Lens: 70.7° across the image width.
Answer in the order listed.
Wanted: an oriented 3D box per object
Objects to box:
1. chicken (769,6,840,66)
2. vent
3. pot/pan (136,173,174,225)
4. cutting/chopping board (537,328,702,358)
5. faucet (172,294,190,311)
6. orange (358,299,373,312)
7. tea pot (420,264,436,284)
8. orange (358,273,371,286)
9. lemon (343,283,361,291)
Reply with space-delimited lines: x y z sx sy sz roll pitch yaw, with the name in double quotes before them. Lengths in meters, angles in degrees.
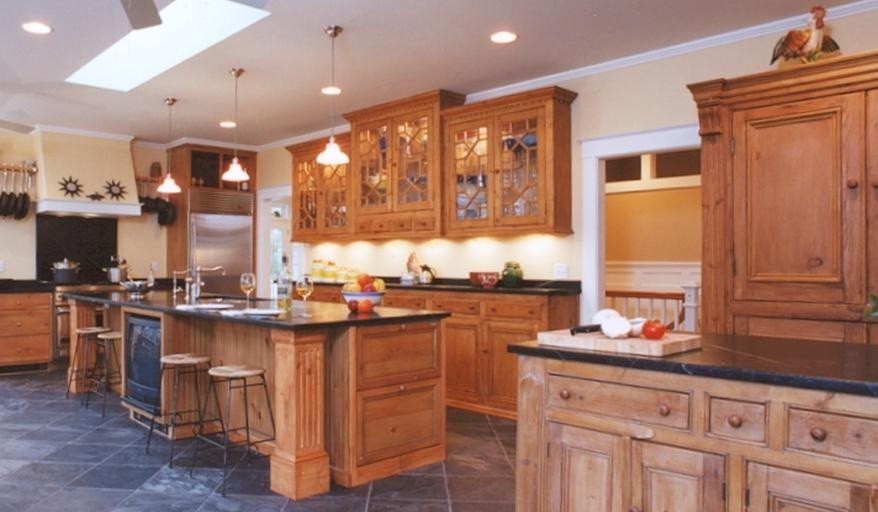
"chicken" 3.172 -1.809 5.472 0.446 0.681 0.576 -2 2 22
"vent" -5.180 -1.235 9.021 1.419 1.137 0.497 3 -11 -35
"pot/pan" -4.349 -0.893 9.496 0.875 0.696 0.401 8 2 20
"cutting/chopping board" 1.185 0.566 4.060 1.061 0.093 0.319 1 9 7
"faucet" -2.634 0.474 6.343 0.134 0.176 0.118 0 2 -8
"orange" -0.659 0.440 5.543 0.130 0.097 0.112 0 5 2
"tea pot" -0.146 0.238 7.902 0.256 0.238 0.684 -1 -4 -4
"orange" -0.703 0.219 5.799 0.114 0.095 0.103 -3 0 -10
"lemon" -0.791 0.286 5.796 0.107 0.034 0.100 5 5 22
